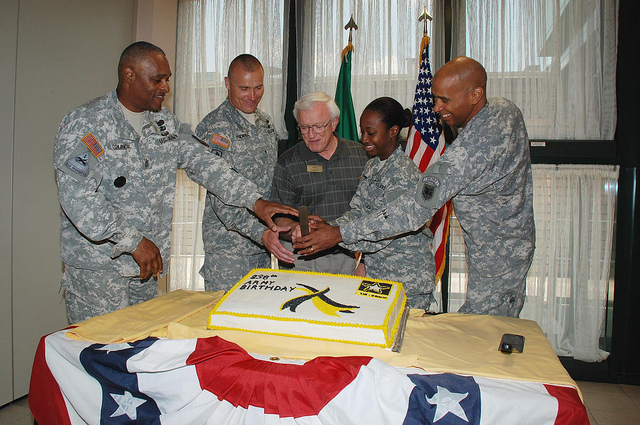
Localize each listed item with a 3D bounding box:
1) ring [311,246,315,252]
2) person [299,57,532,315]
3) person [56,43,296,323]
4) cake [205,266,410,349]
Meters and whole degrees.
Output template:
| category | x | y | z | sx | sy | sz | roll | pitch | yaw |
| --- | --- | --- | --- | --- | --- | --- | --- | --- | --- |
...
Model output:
| category | x | y | z | sx | sy | sz | roll | pitch | yaw |
| --- | --- | --- | --- | --- | --- | --- | --- | --- | --- |
| ring | -0.050 | 0.241 | 3.550 | 0.021 | 0.034 | 0.010 | 1 | 1 | 17 |
| person | 0.800 | -0.150 | 3.449 | 1.180 | 1.662 | 0.361 | 0 | 5 | -5 |
| person | -1.129 | -0.191 | 3.506 | 1.069 | 1.776 | 0.411 | -3 | 6 | -31 |
| cake | -0.084 | 0.544 | 3.035 | 0.743 | 0.145 | 0.520 | 4 | 29 | 11 |
